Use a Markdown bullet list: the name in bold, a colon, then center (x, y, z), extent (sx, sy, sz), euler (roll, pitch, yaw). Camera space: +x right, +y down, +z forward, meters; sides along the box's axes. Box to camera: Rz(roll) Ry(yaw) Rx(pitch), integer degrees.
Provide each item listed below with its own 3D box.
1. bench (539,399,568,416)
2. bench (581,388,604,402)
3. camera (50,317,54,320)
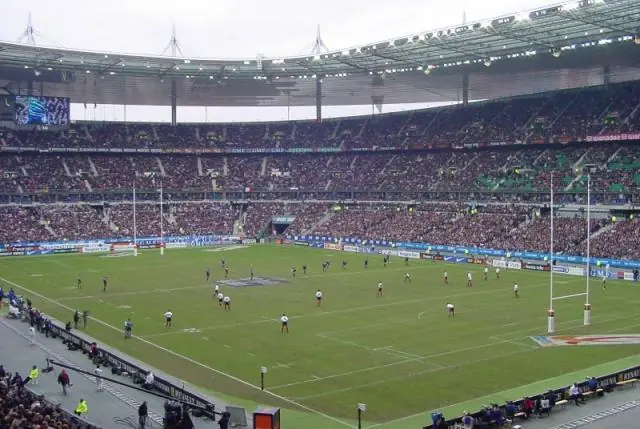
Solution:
- **bench**: center (23.950, 19.785, 101.732), extent (3.105, 1.155, 0.556), euler (-5, 10, -27)
- **bench**: center (27.854, 18.638, 102.908), extent (2.753, 1.391, 0.602), euler (-5, 10, -23)
- **camera**: center (-31.146, 12.156, 115.024), extent (0.577, 0.165, 0.355), euler (8, 7, 40)
